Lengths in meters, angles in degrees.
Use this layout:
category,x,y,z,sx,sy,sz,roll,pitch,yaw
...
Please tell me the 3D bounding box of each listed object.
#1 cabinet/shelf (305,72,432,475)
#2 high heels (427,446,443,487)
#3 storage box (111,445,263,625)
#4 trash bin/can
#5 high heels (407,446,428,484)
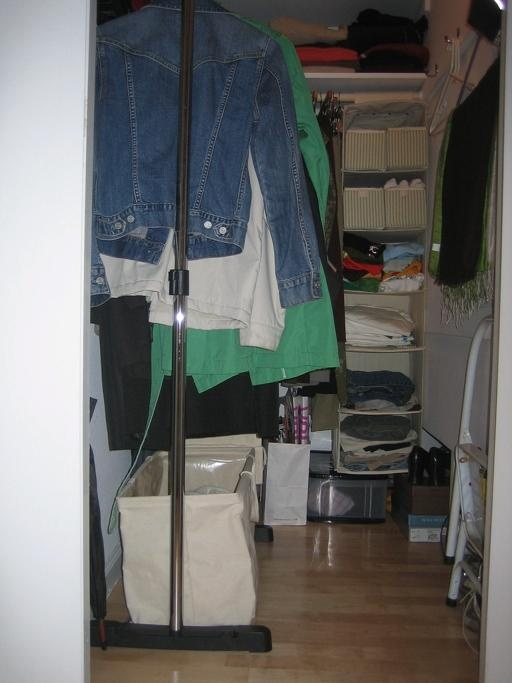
category,x,y,z,sx,sy,sz,roll,pitch,yaw
cabinet/shelf,0.452,-0.212,2.601,0.414,1.713,0.951,2,5,14
high heels,0.683,0.478,2.523,0.041,0.059,0.147,-3,42,13
storage box,-0.186,0.540,1.870,0.314,0.347,0.586,0,2,1
trash bin/can,-0.179,0.558,1.890,0.353,0.384,0.465,0,6,0
high heels,0.623,0.478,2.551,0.049,0.176,0.070,-1,-3,2
